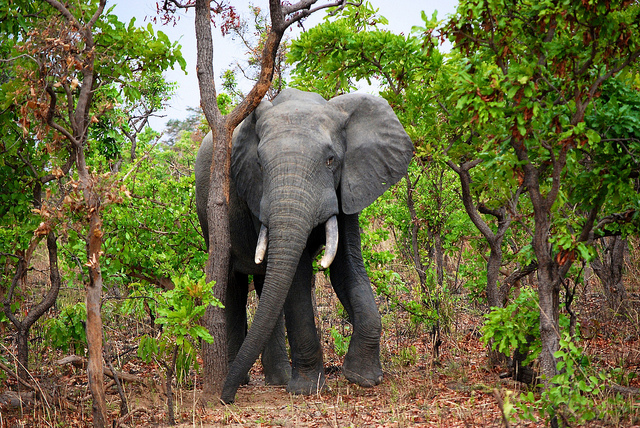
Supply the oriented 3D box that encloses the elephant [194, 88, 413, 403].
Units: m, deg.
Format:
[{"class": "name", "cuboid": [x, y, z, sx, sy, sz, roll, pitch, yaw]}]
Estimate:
[{"class": "elephant", "cuboid": [-0.444, 0.457, 10.707, 2.944, 4.770, 5.760, -7, 6, -14]}]
